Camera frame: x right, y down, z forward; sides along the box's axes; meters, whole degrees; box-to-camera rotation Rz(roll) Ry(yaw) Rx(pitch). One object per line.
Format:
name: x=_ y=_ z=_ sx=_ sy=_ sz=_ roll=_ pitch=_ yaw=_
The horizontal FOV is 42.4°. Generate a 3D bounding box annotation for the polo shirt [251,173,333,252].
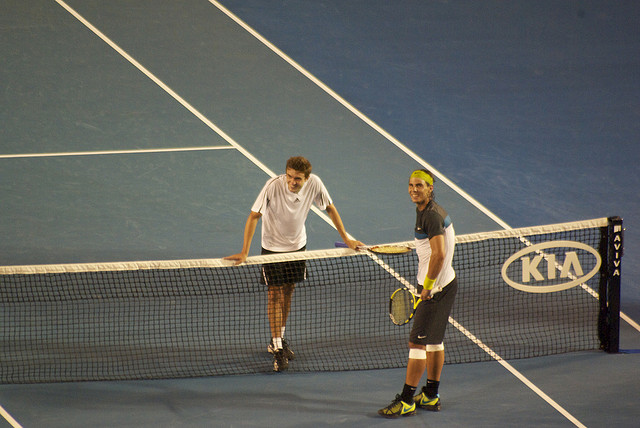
polo shirt: x=-0.387 y=-0.028 z=12.778 sx=0.880 sy=1.325 sz=1.112 roll=0 pitch=-4 yaw=5

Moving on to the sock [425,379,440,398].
sock: x=1.588 y=2.452 z=11.642 sx=0.186 sy=0.253 sz=0.230 roll=-1 pitch=-15 yaw=7

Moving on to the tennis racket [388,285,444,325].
tennis racket: x=1.337 y=1.251 z=11.682 sx=0.971 sy=0.483 sz=0.125 roll=-5 pitch=5 yaw=-37

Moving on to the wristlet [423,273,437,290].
wristlet: x=1.511 y=0.926 z=11.344 sx=0.160 sy=0.153 sz=0.175 roll=25 pitch=14 yaw=2

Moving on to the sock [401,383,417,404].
sock: x=1.258 y=2.487 z=11.487 sx=0.206 sy=0.267 sz=0.194 roll=6 pitch=-16 yaw=-18

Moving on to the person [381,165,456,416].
person: x=1.456 y=1.109 z=11.492 sx=0.824 sy=3.266 sz=1.110 roll=2 pitch=-15 yaw=-3

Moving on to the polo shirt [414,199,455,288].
polo shirt: x=1.591 y=0.412 z=11.382 sx=0.531 sy=1.177 sz=0.495 roll=-1 pitch=-15 yaw=7

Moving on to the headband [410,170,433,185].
headband: x=1.424 y=-0.495 z=11.421 sx=0.293 sy=0.190 sz=0.153 roll=0 pitch=-15 yaw=4
